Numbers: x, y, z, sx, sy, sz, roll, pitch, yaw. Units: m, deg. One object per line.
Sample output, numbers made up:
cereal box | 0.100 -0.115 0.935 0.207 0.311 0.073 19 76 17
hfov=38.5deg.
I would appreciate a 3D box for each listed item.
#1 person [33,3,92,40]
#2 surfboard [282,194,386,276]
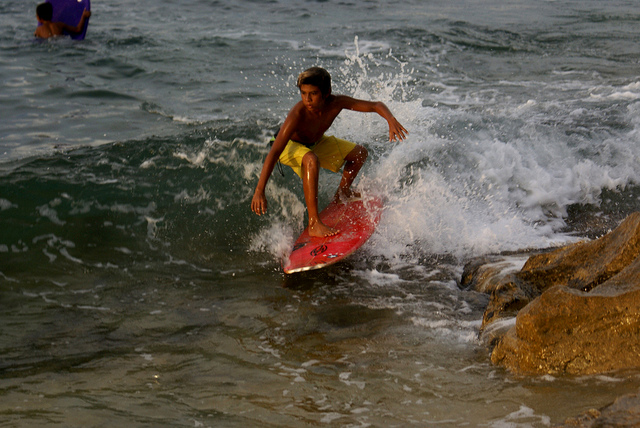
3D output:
person | -5.337 -3.949 18.940 1.011 0.627 0.898 5 26 -18
surfboard | 0.313 0.272 14.098 0.720 0.311 2.171 13 39 23
